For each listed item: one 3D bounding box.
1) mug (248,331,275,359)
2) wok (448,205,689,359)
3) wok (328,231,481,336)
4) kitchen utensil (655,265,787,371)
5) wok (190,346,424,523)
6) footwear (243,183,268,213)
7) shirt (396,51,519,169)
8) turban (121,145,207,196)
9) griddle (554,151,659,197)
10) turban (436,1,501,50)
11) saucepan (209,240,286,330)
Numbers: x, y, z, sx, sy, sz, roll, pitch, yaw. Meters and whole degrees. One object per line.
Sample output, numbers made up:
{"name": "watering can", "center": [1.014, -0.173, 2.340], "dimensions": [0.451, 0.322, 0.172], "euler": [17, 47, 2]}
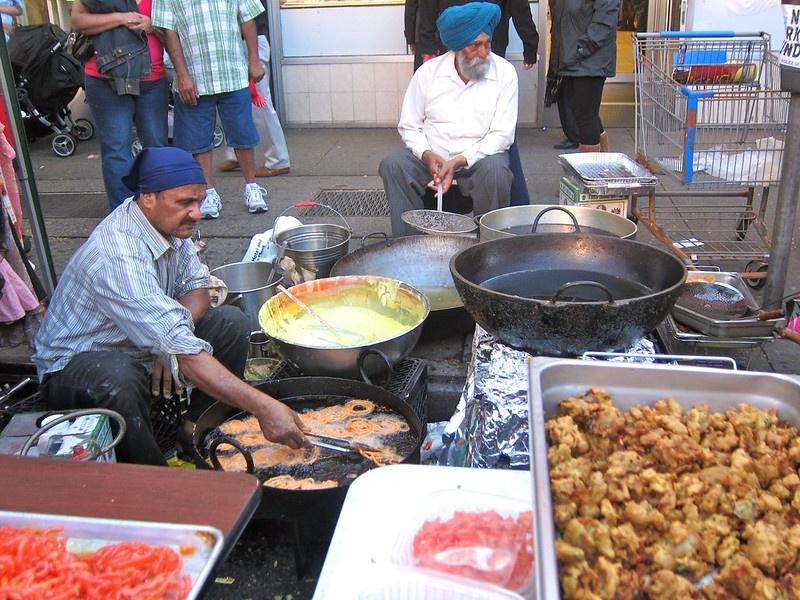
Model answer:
{"name": "mug", "center": [-0.817, 0.256, 3.488], "dimensions": [0.112, 0.125, 0.177], "euler": [-19, 39, -42]}
{"name": "wok", "center": [0.632, -0.056, 2.302], "dimensions": [0.620, 0.255, 0.654], "euler": [-6, 16, -12]}
{"name": "wok", "center": [0.022, -0.160, 3.729], "dimensions": [0.676, 0.190, 0.749], "euler": [-5, 25, -2]}
{"name": "kitchen utensil", "center": [1.610, -0.028, 3.126], "dimensions": [0.482, 0.246, 0.729], "euler": [2, 31, 4]}
{"name": "wok", "center": [-0.374, 0.624, 2.705], "dimensions": [0.718, 0.213, 0.799], "euler": [-1, 19, 2]}
{"name": "footwear", "center": [-1.452, -1.044, 6.012], "dimensions": [0.172, 0.184, 0.405], "euler": [-6, 22, -20]}
{"name": "shirt", "center": [0.438, -1.492, 4.688], "dimensions": [0.928, 0.835, 0.668], "euler": [3, 47, 5]}
{"name": "turban", "center": [-1.106, -0.600, 2.803], "dimensions": [0.313, 0.185, 0.224], "euler": [-2, 13, -12]}
{"name": "griddle", "center": [1.497, -0.909, 4.366], "dimensions": [0.527, 0.208, 0.703], "euler": [-5, 25, 1]}
{"name": "turban", "center": [0.481, -1.937, 4.266], "dimensions": [0.330, 0.219, 0.393], "euler": [-10, 1, -29]}
{"name": "saucepan", "center": [-0.951, -0.099, 3.755], "dimensions": [0.473, 0.345, 0.451], "euler": [2, 10, 7]}
